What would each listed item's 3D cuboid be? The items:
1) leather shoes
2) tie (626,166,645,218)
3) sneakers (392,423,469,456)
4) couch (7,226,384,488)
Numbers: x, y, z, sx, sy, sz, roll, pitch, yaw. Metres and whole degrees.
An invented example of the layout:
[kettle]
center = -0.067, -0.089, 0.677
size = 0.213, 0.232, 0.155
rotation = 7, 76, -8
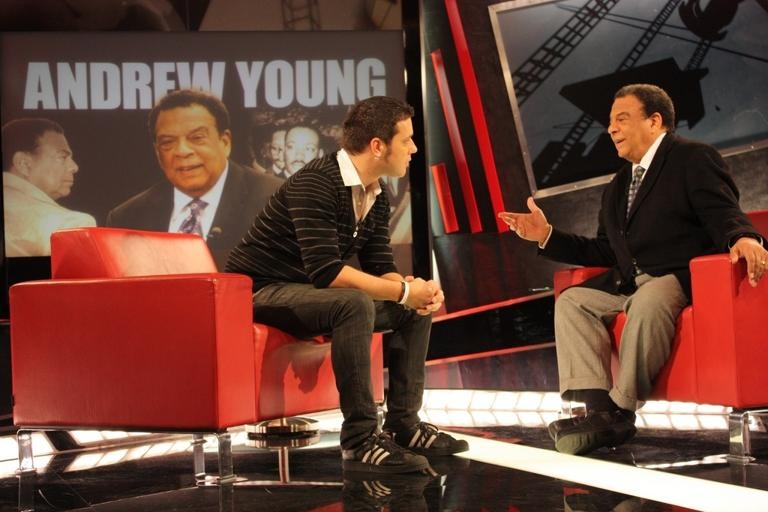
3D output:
[leather shoes]
center = 0.971, 0.789, 3.746
size = 0.305, 0.114, 0.204
rotation = -6, -6, -20
[tie]
center = 1.290, -0.330, 4.135
size = 0.064, 0.314, 0.079
rotation = 13, -40, 11
[sneakers]
center = 0.212, 0.853, 3.812
size = 0.389, 0.140, 0.139
rotation = 0, 1, 0
[couch]
center = -0.864, 0.413, 4.196
size = 1.226, 1.064, 1.583
rotation = -3, -2, 21
